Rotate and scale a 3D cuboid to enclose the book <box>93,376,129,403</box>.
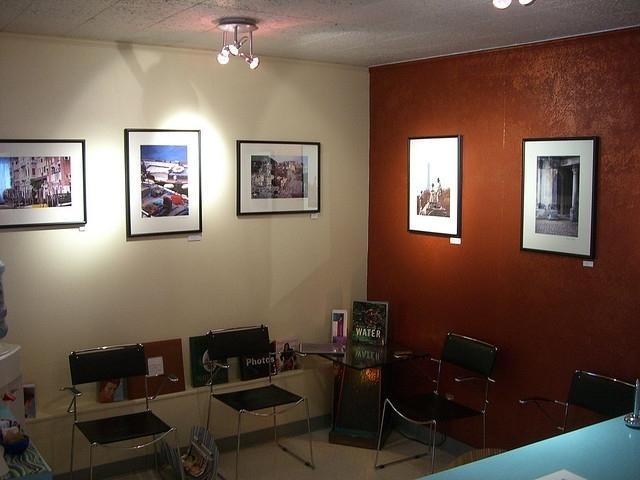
[{"bbox_3d":[-1.786,1.257,4.136,0.281,0.299,0.092,0,-1,-35],"label":"book"}]

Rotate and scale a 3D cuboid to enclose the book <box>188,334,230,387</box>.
[{"bbox_3d":[-1.025,1.101,4.531,0.357,0.524,0.063,-1,19,-12],"label":"book"}]

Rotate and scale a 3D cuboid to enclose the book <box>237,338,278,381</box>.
[{"bbox_3d":[-0.589,1.156,4.743,0.366,0.346,0.042,2,-12,-34],"label":"book"}]

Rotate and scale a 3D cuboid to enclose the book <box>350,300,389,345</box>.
[{"bbox_3d":[0.504,0.833,4.925,0.372,0.477,0.066,0,-6,25],"label":"book"}]
